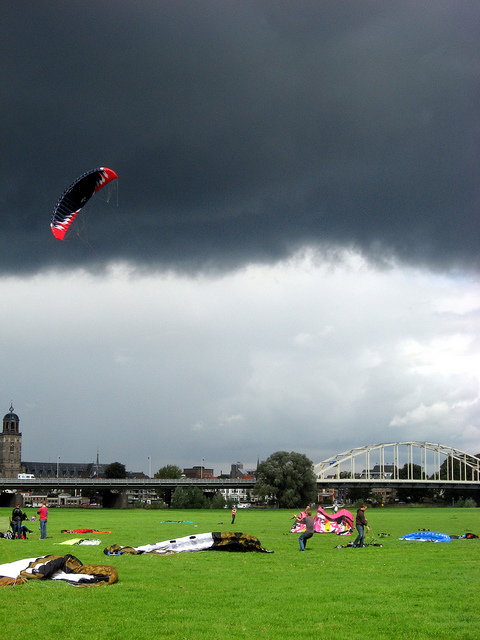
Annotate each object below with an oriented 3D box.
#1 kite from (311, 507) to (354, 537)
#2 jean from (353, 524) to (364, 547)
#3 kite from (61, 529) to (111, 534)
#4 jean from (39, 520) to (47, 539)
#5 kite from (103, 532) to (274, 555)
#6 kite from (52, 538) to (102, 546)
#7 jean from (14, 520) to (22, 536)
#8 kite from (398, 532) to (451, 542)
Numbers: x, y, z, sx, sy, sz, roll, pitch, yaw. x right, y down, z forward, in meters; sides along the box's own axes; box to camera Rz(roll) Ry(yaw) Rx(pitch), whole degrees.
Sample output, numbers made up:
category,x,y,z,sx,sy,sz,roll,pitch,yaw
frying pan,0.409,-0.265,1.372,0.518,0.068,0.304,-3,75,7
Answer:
category,x,y,z,sx,sy,sz,roll,pitch,yaw
kite,4.918,10.802,62.250,2.908,1.458,2.369,2,0,0
jean,5.143,9.589,52.141,0.438,0.926,1.317,-1,-12,2
kite,-8.034,11.045,61.516,2.545,0.291,2.755,-2,-12,3
jean,-9.124,9.765,54.813,0.263,0.871,0.595,2,-12,-14
kite,-1.886,9.323,49.116,6.356,0.902,1.630,4,-13,-23
kite,-6.978,9.829,51.885,2.539,0.341,1.528,-8,-14,29
jean,-10.335,9.743,55.056,0.292,0.717,0.444,2,-12,-13
kite,8.943,10.596,57.288,1.415,0.518,2.722,9,-16,-39
